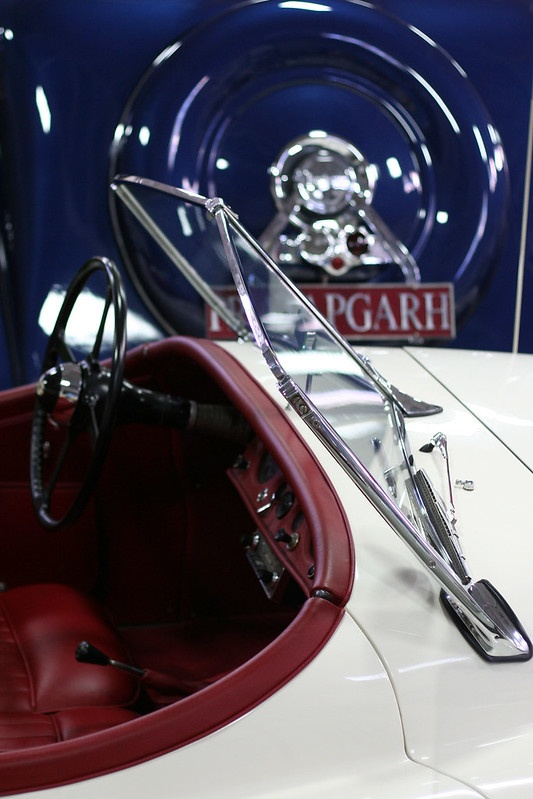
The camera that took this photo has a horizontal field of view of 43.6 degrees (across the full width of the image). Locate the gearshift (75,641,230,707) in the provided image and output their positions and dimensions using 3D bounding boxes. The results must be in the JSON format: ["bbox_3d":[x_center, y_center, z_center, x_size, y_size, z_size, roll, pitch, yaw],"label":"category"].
[{"bbox_3d":[-0.185,0.411,1.002,0.204,0.055,0.050,32,-30,-20],"label":"gearshift"}]
